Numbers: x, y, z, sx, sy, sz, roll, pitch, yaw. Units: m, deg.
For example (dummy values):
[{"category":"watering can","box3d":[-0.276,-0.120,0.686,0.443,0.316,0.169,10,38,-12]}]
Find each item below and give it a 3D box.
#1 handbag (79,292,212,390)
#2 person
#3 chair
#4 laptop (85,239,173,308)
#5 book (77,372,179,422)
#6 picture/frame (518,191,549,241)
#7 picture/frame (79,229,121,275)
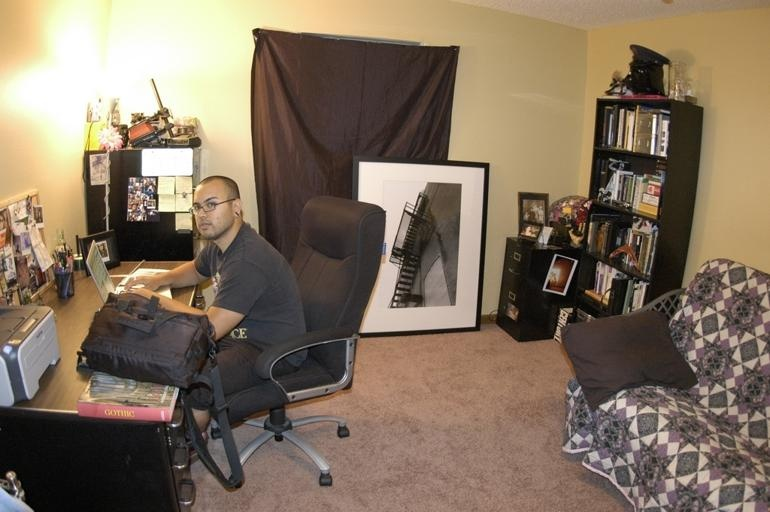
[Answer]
[{"category":"handbag","box3d":[-1.135,0.455,2.593,0.572,0.268,0.362,14,49,5]},{"category":"person","box3d":[-1.027,0.388,3.337,1.176,1.633,0.841,4,11,2]},{"category":"chair","box3d":[-0.458,0.522,3.281,0.850,1.711,0.744,1,12,-6]},{"category":"laptop","box3d":[-1.638,0.207,3.450,0.444,0.343,0.542,-1,15,-11]},{"category":"book","box3d":[-1.153,0.638,2.467,0.423,0.146,0.177,2,12,0]},{"category":"picture/frame","box3d":[1.352,-0.376,5.028,0.317,0.405,0.201,9,14,30]},{"category":"picture/frame","box3d":[-1.933,-0.019,3.680,0.020,0.258,0.291,-2,8,19]}]
